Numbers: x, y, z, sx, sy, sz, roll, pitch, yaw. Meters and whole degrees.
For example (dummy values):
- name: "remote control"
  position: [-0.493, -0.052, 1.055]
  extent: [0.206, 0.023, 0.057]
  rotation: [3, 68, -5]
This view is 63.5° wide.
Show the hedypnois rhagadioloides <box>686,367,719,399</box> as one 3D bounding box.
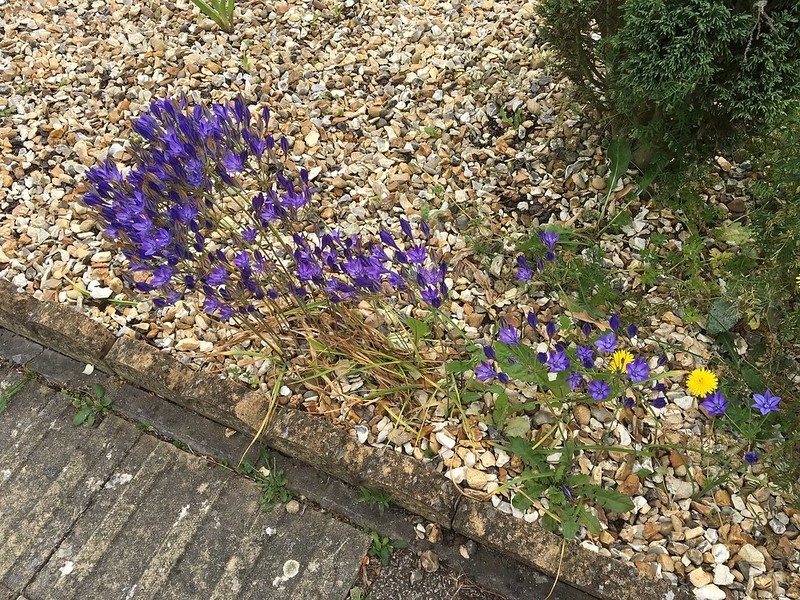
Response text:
- name: "hedypnois rhagadioloides"
  position: [1.248, 0.352, 2.668]
  extent: [0.116, 0.150, 0.111]
  rotation: [-25, 71, 5]
